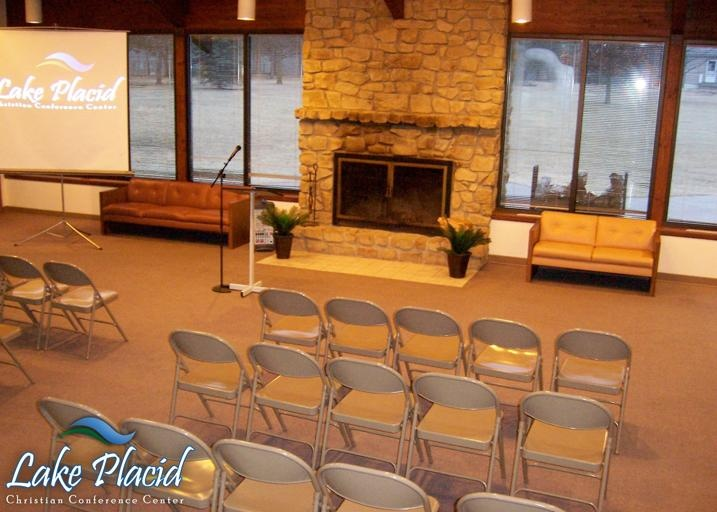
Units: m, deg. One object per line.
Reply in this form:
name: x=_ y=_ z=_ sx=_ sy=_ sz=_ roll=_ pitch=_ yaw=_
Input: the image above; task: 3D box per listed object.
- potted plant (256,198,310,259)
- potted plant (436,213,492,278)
potted plant: x=-1.240 y=-0.467 z=9.312 sx=1.016 sy=0.860 sz=0.924 roll=1 pitch=5 yaw=-3
potted plant: x=1.516 y=-0.183 z=8.647 sx=1.021 sy=0.859 sz=0.901 roll=2 pitch=3 yaw=0
